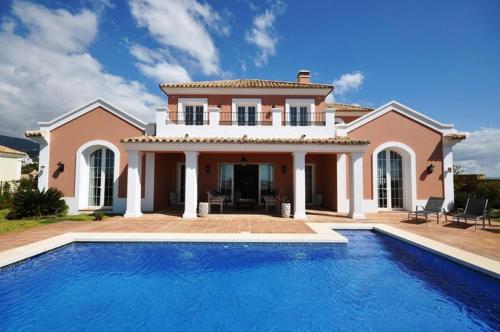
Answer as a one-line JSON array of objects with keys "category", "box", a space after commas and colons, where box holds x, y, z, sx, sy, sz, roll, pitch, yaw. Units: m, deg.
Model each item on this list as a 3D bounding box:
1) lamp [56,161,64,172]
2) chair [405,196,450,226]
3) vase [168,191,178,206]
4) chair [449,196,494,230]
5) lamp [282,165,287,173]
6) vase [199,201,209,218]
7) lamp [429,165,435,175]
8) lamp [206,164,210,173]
[{"category": "lamp", "box": [-14.277, 0.006, 24.172, 0.489, 0.735, 0.259, 1, -7, -3]}, {"category": "chair", "box": [12.125, 2.998, 22.025, 2.380, 1.575, 1.550, -1, 2, -31]}, {"category": "vase", "box": [-6.600, 2.771, 27.497, 0.951, 1.091, 0.941, 2, -6, -14]}, {"category": "chair", "box": [14.523, 3.064, 21.104, 2.329, 1.579, 1.572, -4, 3, -37]}, {"category": "lamp", "box": [2.847, 0.262, 26.996, 0.427, 0.645, 0.216, 1, -7, -4]}, {"category": "vase", "box": [-3.360, 3.161, 23.297, 0.703, 1.073, 0.555, 2, -7, -13]}, {"category": "lamp", "box": [13.939, 0.239, 24.827, 0.581, 0.749, 0.242, 2, -7, -7]}, {"category": "lamp", "box": [-3.529, 0.221, 26.843, 0.340, 0.631, 0.303, 2, -7, -8]}]
